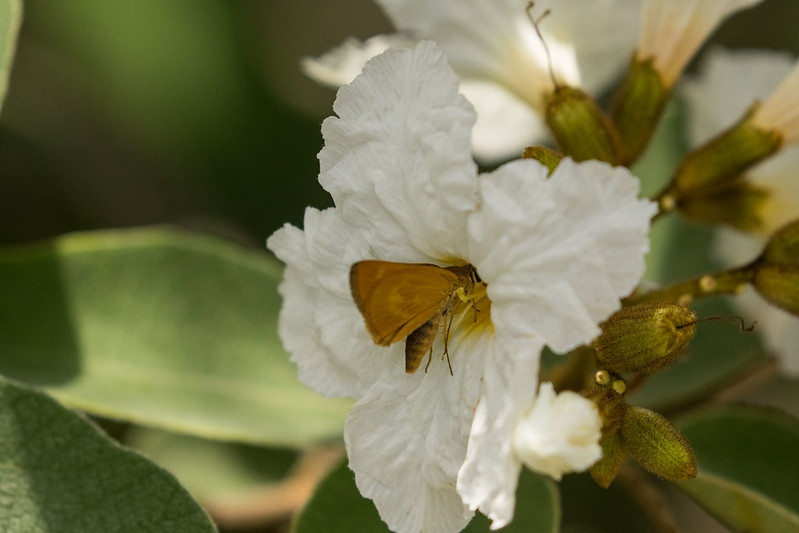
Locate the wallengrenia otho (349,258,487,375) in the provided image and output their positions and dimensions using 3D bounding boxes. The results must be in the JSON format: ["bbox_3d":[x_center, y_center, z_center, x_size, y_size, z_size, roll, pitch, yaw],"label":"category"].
[{"bbox_3d":[0.030,0.051,1.273,0.149,0.165,0.155,-28,89,3],"label":"wallengrenia otho"}]
